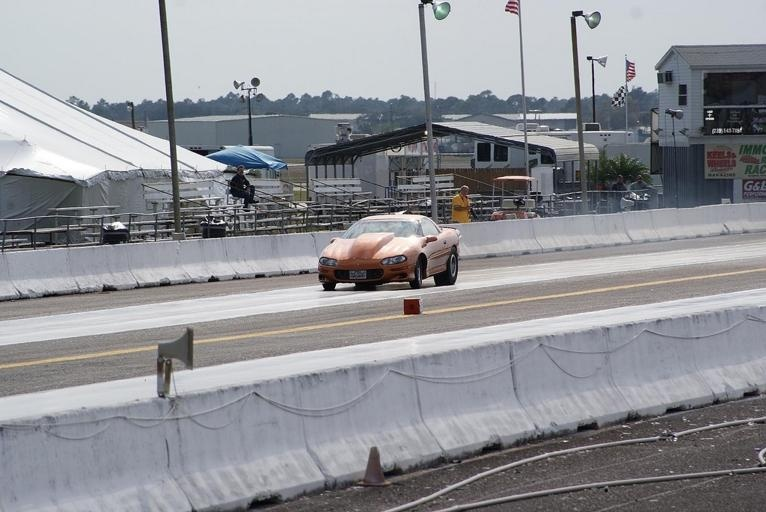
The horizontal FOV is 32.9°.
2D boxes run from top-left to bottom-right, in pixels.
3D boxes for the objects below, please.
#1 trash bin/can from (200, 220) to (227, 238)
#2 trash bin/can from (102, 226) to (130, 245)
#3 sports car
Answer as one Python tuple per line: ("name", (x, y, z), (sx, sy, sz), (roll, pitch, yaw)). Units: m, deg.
("trash bin/can", (-4.859, -0.764, 36.803), (0.545, 0.577, 0.573), (0, 0, -5))
("trash bin/can", (-7.095, -0.578, 34.239), (0.670, 0.489, 0.658), (-3, 7, -16))
("sports car", (0.224, -0.097, 31.671), (2.545, 1.759, 4.834), (-1, 1, 19))
